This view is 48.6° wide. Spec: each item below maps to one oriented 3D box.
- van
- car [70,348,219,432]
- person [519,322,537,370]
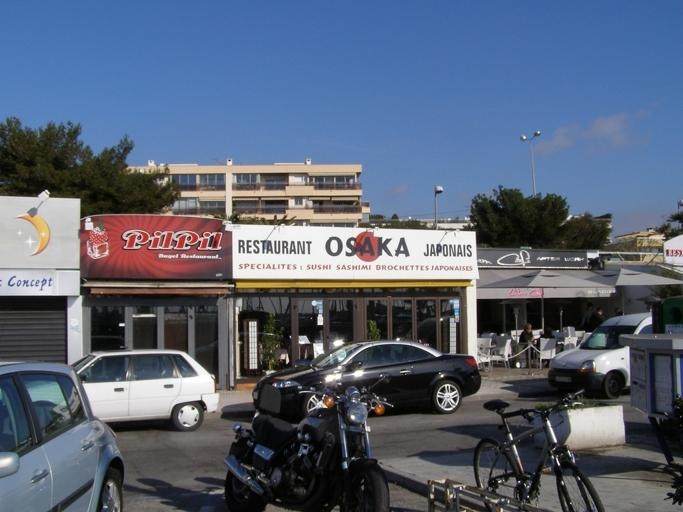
[{"bbox_3d":[5.952,2.320,17.724,3.152,1.727,1.732,6,-10,-29],"label":"van"},{"bbox_3d":[-4.042,2.729,15.352,2.608,1.116,1.605,5,-5,-19],"label":"car"},{"bbox_3d":[5.890,2.838,23.886,0.483,1.373,2.326,-4,-5,13],"label":"person"}]
